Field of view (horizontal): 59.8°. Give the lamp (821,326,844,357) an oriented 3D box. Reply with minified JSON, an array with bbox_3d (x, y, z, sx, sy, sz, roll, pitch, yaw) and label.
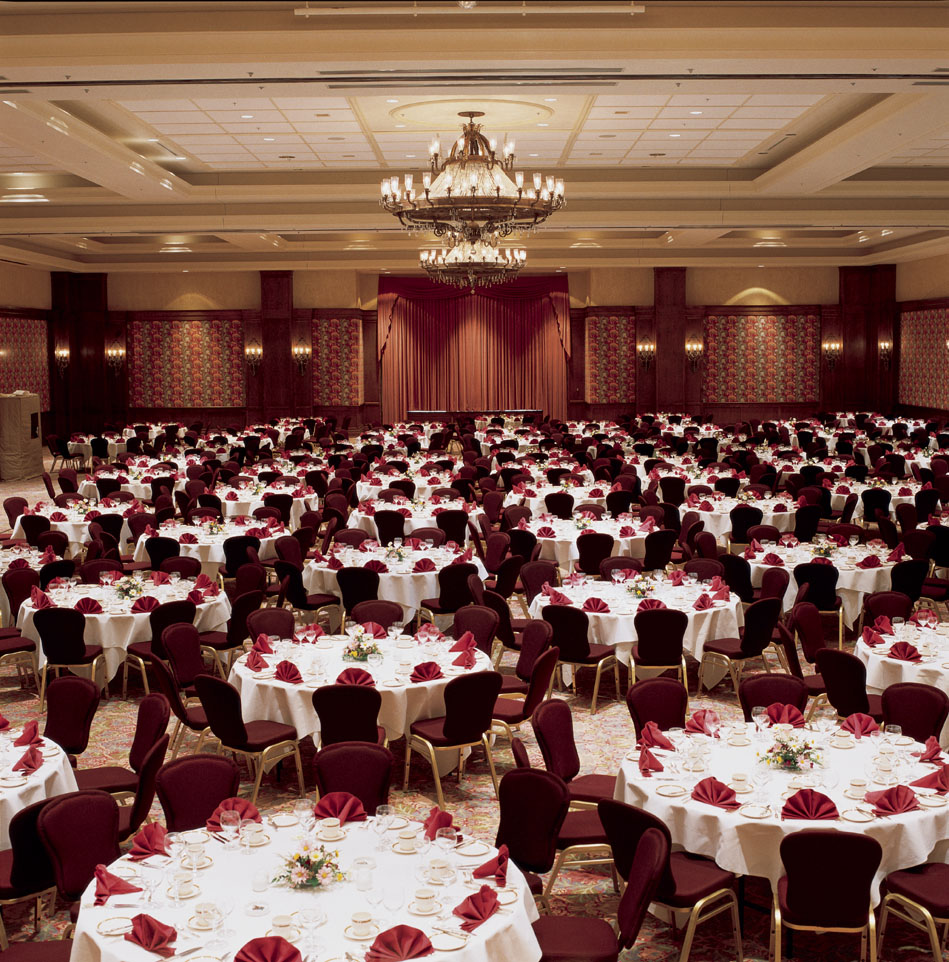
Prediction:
[{"bbox_3d":[10.358,-3.993,23.844,0.549,0.840,0.123,0,3,12],"label":"lamp"}]

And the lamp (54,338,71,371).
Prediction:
[{"bbox_3d":[-11.795,-3.622,23.626,0.124,0.751,0.443,1,3,28],"label":"lamp"}]

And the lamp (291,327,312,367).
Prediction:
[{"bbox_3d":[-4.989,-3.839,23.703,0.515,1.053,0.151,-1,3,-10],"label":"lamp"}]

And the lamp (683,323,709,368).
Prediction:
[{"bbox_3d":[6.460,-3.997,23.921,0.793,1.210,0.218,-2,4,-31],"label":"lamp"}]

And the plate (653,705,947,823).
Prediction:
[{"bbox_3d":[1.379,1.166,3.531,1.251,0.161,1.154,0,2,17],"label":"plate"}]
